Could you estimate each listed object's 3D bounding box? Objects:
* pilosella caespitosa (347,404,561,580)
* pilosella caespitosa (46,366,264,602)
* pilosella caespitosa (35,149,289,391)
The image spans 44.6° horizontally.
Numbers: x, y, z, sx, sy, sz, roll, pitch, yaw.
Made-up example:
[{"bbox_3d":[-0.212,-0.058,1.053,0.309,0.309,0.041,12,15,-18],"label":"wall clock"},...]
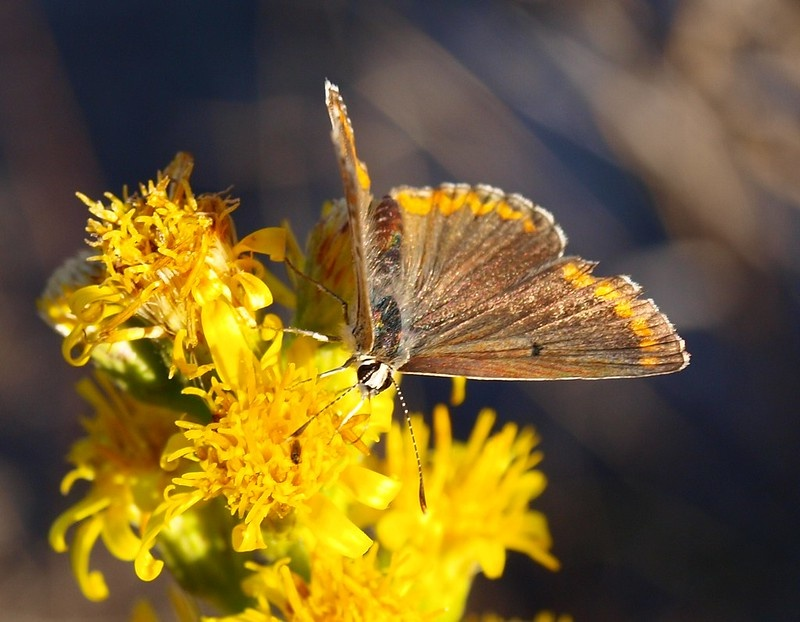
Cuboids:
[{"bbox_3d":[0.086,0.360,1.838,0.411,0.153,0.394,-9,35,-11],"label":"pilosella caespitosa"},{"bbox_3d":[-0.471,0.365,1.851,0.365,0.203,0.428,39,72,-2],"label":"pilosella caespitosa"},{"bbox_3d":[-0.394,-0.056,1.744,0.377,0.223,0.386,33,72,1],"label":"pilosella caespitosa"}]
